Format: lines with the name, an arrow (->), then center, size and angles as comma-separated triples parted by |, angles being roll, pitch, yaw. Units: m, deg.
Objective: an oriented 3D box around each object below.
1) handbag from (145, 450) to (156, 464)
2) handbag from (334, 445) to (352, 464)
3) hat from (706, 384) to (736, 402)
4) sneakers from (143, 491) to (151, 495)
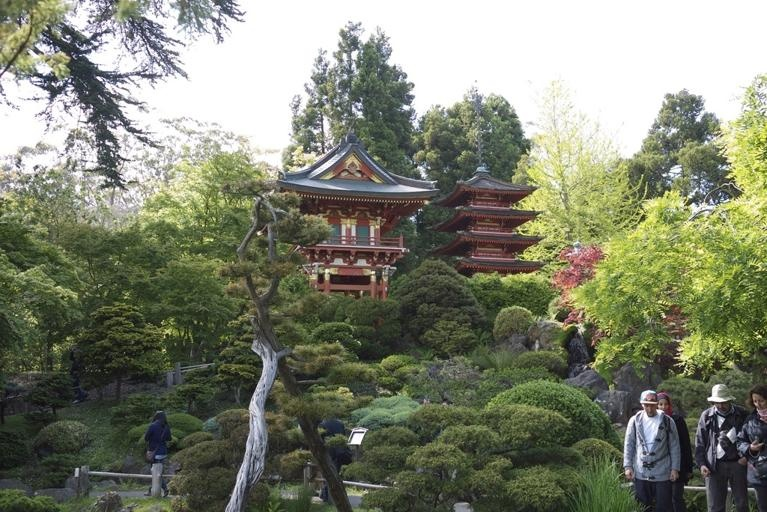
handbag -> -6.954, 6.020, 25.708 | 0.209, 0.345, 0.477 | 10, -19, -24
handbag -> -1.138, 5.824, 24.890 | 0.329, 0.509, 0.505 | 8, 26, 28
hat -> 8.322, 3.393, 21.236 | 0.621, 0.385, 0.750 | -7, -28, 19
sneakers -> -6.834, 6.941, 24.985 | 0.142, 0.125, 0.089 | 18, -25, 9
